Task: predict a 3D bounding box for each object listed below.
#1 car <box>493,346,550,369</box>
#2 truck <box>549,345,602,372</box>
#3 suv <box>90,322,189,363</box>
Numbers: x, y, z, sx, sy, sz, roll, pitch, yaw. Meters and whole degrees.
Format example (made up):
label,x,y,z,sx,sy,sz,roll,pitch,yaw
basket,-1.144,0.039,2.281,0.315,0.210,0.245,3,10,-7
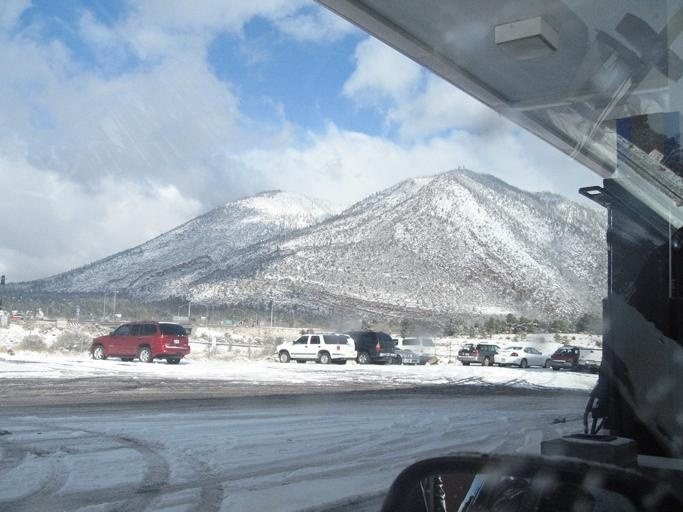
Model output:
label,x,y,z,sx,sy,sz,roll,pitch,yaw
car,10.825,6.107,39.753,3.153,1.427,1.899,-1,-14,14
truck,12.963,5.741,36.581,2.613,1.544,2.140,-3,-14,20
suv,-9.546,4.352,31.960,4.495,1.966,2.200,3,-5,27
